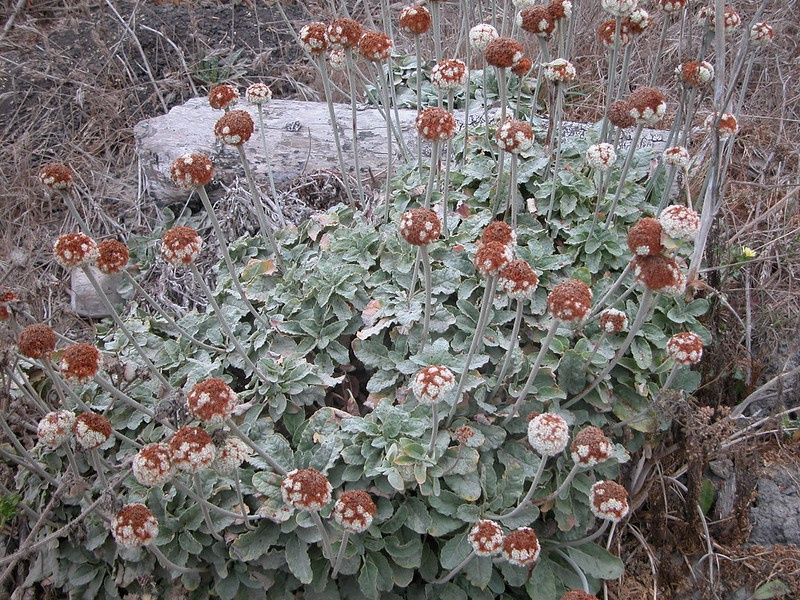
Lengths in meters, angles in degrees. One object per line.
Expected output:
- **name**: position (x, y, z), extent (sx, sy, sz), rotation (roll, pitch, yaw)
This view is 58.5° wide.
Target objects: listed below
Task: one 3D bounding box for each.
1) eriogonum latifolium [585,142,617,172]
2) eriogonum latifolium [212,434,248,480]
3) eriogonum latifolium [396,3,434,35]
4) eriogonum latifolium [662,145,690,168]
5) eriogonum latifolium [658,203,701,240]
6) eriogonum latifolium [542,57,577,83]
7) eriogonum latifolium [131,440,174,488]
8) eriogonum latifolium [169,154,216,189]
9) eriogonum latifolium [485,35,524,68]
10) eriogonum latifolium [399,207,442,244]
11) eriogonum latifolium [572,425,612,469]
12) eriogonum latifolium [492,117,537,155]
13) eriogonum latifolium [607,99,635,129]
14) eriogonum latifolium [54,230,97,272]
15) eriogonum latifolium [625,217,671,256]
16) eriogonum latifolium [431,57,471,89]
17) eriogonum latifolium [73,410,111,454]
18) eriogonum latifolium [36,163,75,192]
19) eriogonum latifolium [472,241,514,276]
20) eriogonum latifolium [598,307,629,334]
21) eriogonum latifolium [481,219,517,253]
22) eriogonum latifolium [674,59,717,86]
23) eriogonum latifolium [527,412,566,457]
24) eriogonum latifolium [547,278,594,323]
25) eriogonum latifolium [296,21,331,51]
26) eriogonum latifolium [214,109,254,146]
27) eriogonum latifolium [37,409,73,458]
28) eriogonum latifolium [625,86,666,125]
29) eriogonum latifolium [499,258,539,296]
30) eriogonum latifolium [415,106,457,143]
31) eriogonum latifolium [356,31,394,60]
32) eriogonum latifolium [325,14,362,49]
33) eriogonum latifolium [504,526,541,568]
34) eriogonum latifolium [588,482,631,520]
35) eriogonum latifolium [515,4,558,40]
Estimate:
- **eriogonum latifolium**: position (1.369, -0.957, 4.884), extent (0.180, 0.263, 0.220), rotation (5, 50, 13)
- **eriogonum latifolium**: position (-0.979, 0.861, 4.017), extent (0.191, 0.211, 0.213), rotation (-2, 40, 19)
- **eriogonum latifolium**: position (0.098, -1.933, 4.911), extent (0.211, 0.158, 0.213), rotation (-7, 57, -3)
- **eriogonum latifolium**: position (1.917, -0.990, 4.983), extent (0.163, 0.144, 0.162), rotation (-2, 88, 26)
- **eriogonum latifolium**: position (1.580, -0.433, 4.088), extent (0.200, 0.155, 0.201), rotation (6, 50, -4)
- **eriogonum latifolium**: position (1.117, -1.627, 5.120), extent (0.227, 0.130, 0.234), rotation (1, 41, -1)
- **eriogonum latifolium**: position (-1.308, 0.875, 3.898), extent (0.271, 0.163, 0.273), rotation (-6, 69, 22)
- **eriogonum latifolium**: position (-1.273, -0.795, 4.422), extent (0.189, 0.215, 0.236), rotation (12, 52, 19)
- **eriogonum latifolium**: position (0.676, -1.611, 4.617), extent (0.205, 0.164, 0.204), rotation (-17, 51, 4)
- **eriogonum latifolium**: position (0.121, -0.435, 4.278), extent (0.226, 0.182, 0.209), rotation (3, 80, -7)
- **eriogonum latifolium**: position (1.094, 0.837, 4.118), extent (0.264, 0.162, 0.328), rotation (1, 16, 18)
- **eriogonum latifolium**: position (0.749, -1.049, 4.644), extent (0.214, 0.263, 0.246), rotation (6, 50, 14)
- **eriogonum latifolium**: position (1.492, -1.239, 4.832), extent (0.162, 0.162, 0.190), rotation (-2, 77, 2)
- **eriogonum latifolium**: position (-1.919, -0.288, 4.233), extent (0.212, 0.188, 0.188), rotation (2, 49, 11)
- **eriogonum latifolium**: position (1.446, -0.366, 4.153), extent (0.191, 0.136, 0.221), rotation (5, 53, 44)
- **eriogonum latifolium**: position (0.330, -1.514, 4.792), extent (0.219, 0.123, 0.222), rotation (-1, 78, 0)
- **eriogonum latifolium**: position (-1.758, 0.752, 4.059), extent (0.195, 0.125, 0.213), rotation (24, 71, -21)
- **eriogonum latifolium**: position (-2.219, -0.804, 4.620), extent (0.233, 0.202, 0.132), rotation (0, 14, -18)
- **eriogonum latifolium**: position (0.545, -0.249, 4.115), extent (0.223, 0.189, 0.218), rotation (-10, 48, 0)
- **eriogonum latifolium**: position (1.391, 0.136, 4.647), extent (0.174, 0.174, 0.173), rotation (-3, 58, 10)
- **eriogonum latifolium**: position (0.595, -0.394, 4.270), extent (0.168, 0.186, 0.183), rotation (25, 93, 5)
- **eriogonum latifolium**: position (2.088, -1.598, 5.058), extent (0.218, 0.204, 0.193), rotation (-4, 49, 6)
- **eriogonum latifolium**: position (0.803, 0.765, 4.052), extent (0.207, 0.208, 0.213), rotation (7, 90, 10)
- **eriogonum latifolium**: position (0.982, 0.021, 4.136), extent (0.240, 0.218, 0.220), rotation (-13, 48, -3)
- **eriogonum latifolium**: position (-0.590, -1.827, 4.927), extent (0.201, 0.164, 0.217), rotation (1, 87, 2)
- **eriogonum latifolium**: position (-1.098, -1.118, 4.730), extent (0.241, 0.237, 0.199), rotation (11, 20, -23)
- **eriogonum latifolium**: position (-1.990, 0.739, 4.162), extent (0.169, 0.234, 0.238), rotation (-14, 21, -41)
- **eriogonum latifolium**: position (1.660, -1.289, 4.822), extent (0.250, 0.261, 0.254), rotation (0, 87, 24)
- **eriogonum latifolium**: position (0.683, -0.114, 4.154), extent (0.203, 0.178, 0.202), rotation (-5, 70, 10)
- **eriogonum latifolium**: position (0.225, -1.091, 4.497), extent (0.221, 0.133, 0.217), rotation (9, 74, -2)
- **eriogonum latifolium**: position (-0.164, -1.723, 4.860), extent (0.207, 0.205, 0.207), rotation (-3, 29, -3)
- **eriogonum latifolium**: position (-0.380, -1.791, 4.789), extent (0.208, 0.205, 0.170), rotation (-3, 65, 10)
- **eriogonum latifolium**: position (0.690, 1.380, 3.975), extent (0.228, 0.219, 0.077), rotation (13, 59, -11)
- **eriogonum latifolium**: position (1.178, 1.121, 4.040), extent (0.192, 0.203, 0.230), rotation (3, 50, 12)
- **eriogonum latifolium**: position (0.958, -1.964, 4.990), extent (0.253, 0.211, 0.279), rotation (1, 49, 10)
